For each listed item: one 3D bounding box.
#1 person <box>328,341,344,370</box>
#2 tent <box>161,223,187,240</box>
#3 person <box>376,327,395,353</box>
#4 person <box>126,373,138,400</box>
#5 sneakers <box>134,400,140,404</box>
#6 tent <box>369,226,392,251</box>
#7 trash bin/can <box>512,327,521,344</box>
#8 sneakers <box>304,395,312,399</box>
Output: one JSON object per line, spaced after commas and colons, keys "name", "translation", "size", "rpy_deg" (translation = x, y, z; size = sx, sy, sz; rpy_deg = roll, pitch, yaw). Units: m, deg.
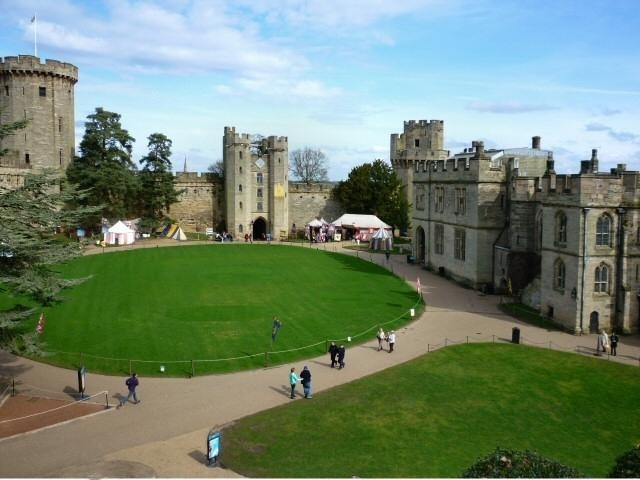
{"name": "person", "translation": [1.099, 7.072, 45.047], "size": [0.857, 1.542, 1.203], "rpy_deg": [1, 14, 5]}
{"name": "tent", "translation": [-18.262, -0.913, 90.315], "size": [1.731, 1.757, 4.731], "rpy_deg": [-8, 16, -29]}
{"name": "person", "translation": [4.328, 6.677, 48.168], "size": [1.152, 0.313, 1.517], "rpy_deg": [3, 34, 7]}
{"name": "person", "translation": [-10.676, 8.247, 40.993], "size": [0.605, 1.547, 1.374], "rpy_deg": [-4, 15, -15]}
{"name": "sneakers", "translation": [-10.292, 9.077, 40.621], "size": [0.284, 0.160, 0.331], "rpy_deg": [-5, 15, -20]}
{"name": "tent", "translation": [7.456, 0.019, 83.281], "size": [2.491, 2.577, 2.578], "rpy_deg": [-1, 2, -2]}
{"name": "trash bin/can", "translation": [13.092, 6.391, 48.261], "size": [0.394, 1.015, 0.571], "rpy_deg": [-3, 14, -11]}
{"name": "sneakers", "translation": [-0.651, 8.938, 41.141], "size": [0.405, 0.261, 0.134], "rpy_deg": [6, -10, -39]}
